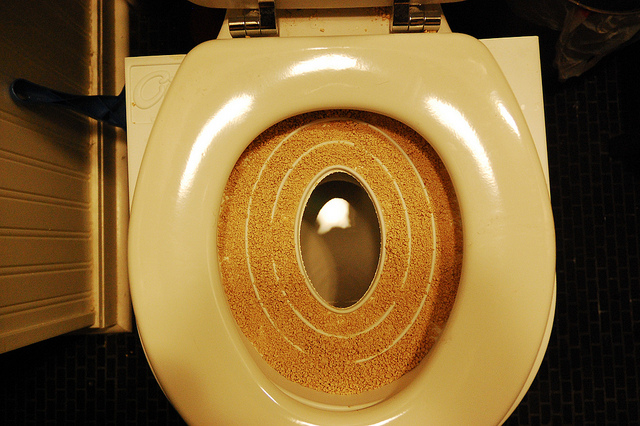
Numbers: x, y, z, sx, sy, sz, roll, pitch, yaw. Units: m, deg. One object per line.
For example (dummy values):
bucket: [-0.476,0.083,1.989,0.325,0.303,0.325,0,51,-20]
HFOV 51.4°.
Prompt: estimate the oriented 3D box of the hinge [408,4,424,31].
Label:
hinge: [0.260,-0.527,1.782,0.039,0.024,0.064,-1,85,1]
